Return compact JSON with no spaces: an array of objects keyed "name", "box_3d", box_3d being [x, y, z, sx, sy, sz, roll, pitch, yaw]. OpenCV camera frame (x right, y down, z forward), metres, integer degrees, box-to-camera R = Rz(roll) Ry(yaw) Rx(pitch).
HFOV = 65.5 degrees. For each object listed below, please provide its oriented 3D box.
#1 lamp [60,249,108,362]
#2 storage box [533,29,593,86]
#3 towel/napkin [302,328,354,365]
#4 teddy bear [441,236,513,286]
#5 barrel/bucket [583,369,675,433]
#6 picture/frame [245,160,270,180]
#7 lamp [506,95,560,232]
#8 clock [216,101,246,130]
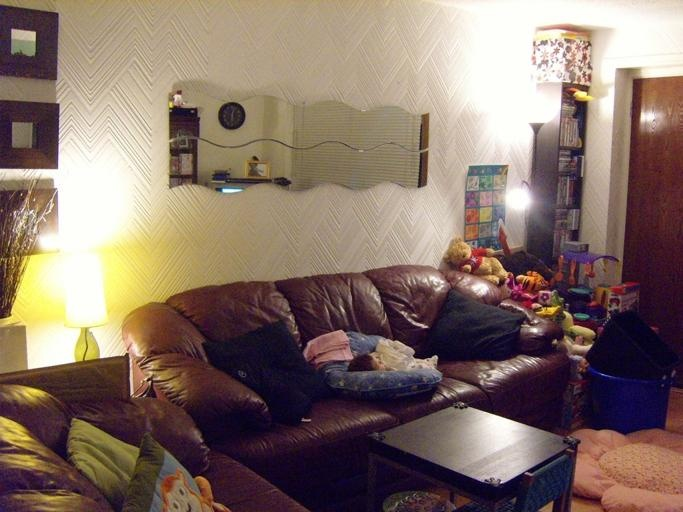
[{"name":"lamp","box_3d":[-1.443,0.290,2.992,0.216,0.613,0.297,-3,4,-28]},{"name":"storage box","box_3d":[2.168,-1.907,5.262,0.564,0.564,0.558,-3,10,-25]},{"name":"towel/napkin","box_3d":[-0.084,0.583,3.304,0.204,0.077,0.207,-7,16,-17]},{"name":"teddy bear","box_3d":[1.192,0.057,4.696,0.617,0.259,0.454,26,41,37]},{"name":"barrel/bucket","box_3d":[2.080,1.045,3.863,0.470,0.388,0.521,0,2,5]},{"name":"picture/frame","box_3d":[-0.588,-0.595,3.636,0.131,0.100,0.014,-11,14,-37]},{"name":"lamp","box_3d":[1.866,-0.953,5.166,0.403,1.408,0.392,-4,4,-37]},{"name":"clock","box_3d":[-0.727,-0.920,3.500,0.169,0.173,0.035,1,4,-35]}]
